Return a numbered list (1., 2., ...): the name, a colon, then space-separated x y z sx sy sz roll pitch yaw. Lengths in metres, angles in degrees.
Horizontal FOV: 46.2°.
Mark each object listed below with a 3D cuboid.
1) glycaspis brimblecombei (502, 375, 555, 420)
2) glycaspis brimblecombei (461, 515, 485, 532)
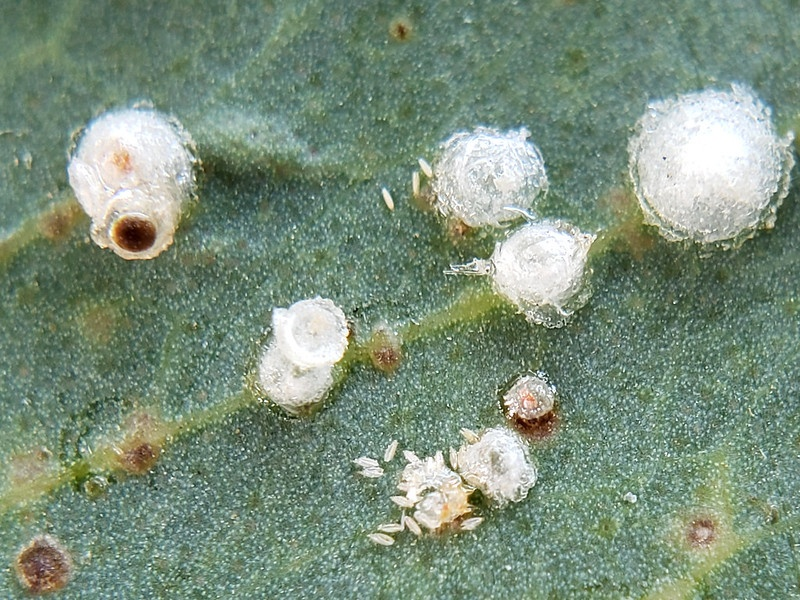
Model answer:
1. glycaspis brimblecombei: 0.974 0.723 7.046 0.389 0.088 0.332 -20 78 -4
2. glycaspis brimblecombei: 0.538 1.644 6.947 0.150 0.038 0.095 -19 91 0
